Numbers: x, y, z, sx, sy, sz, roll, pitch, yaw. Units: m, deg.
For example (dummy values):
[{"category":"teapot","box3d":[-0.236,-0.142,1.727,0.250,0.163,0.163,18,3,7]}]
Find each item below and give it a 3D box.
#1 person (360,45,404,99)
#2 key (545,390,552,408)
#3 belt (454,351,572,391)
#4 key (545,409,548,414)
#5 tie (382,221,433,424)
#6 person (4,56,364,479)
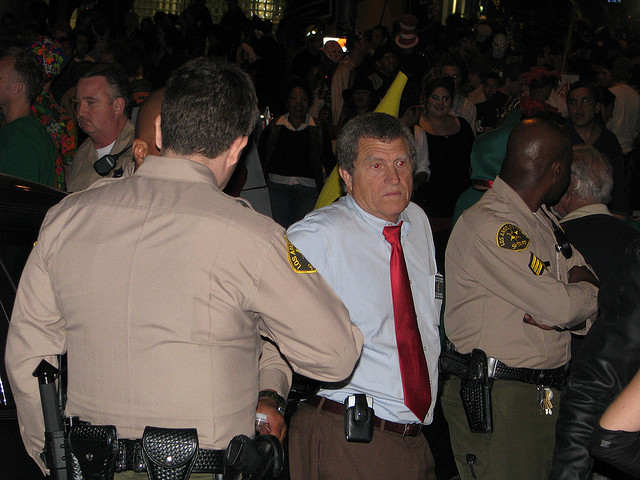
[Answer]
[{"category":"person","box3d":[0.936,-2.405,8.796,0.735,0.708,0.365,-7,7,-17]},{"category":"key","box3d":[1.186,0.817,3.173,0.046,0.096,0.014,-2,10,-19]},{"category":"belt","box3d":[1.102,0.695,3.215,0.412,0.122,0.304,7,0,-5]},{"category":"key","box3d":[1.178,0.880,3.176,0.008,0.026,0.019,4,-5,-37]},{"category":"tie","box3d":[0.374,0.366,2.707,0.155,0.825,0.295,-3,10,-23]},{"category":"person","box3d":[-0.505,0.145,2.114,1.254,1.526,0.386,2,9,2]}]
